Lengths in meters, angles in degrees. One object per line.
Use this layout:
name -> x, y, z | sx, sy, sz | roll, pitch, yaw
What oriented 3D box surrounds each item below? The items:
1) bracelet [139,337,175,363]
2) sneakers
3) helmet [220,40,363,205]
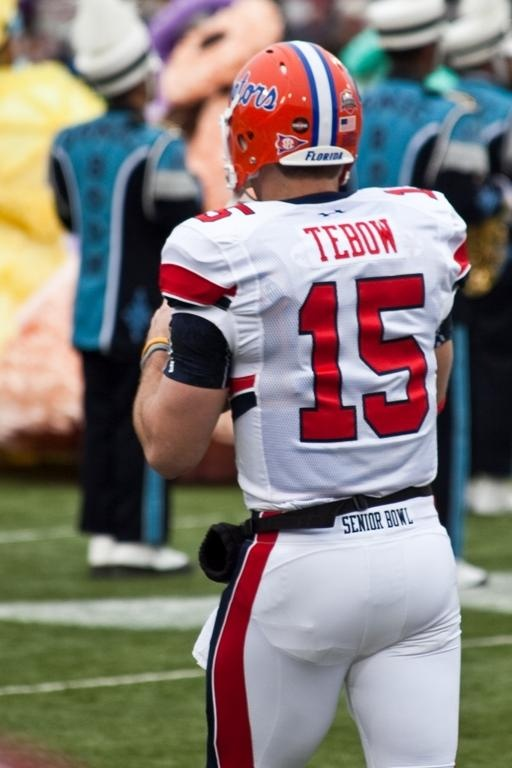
bracelet -> -0.150, -0.050, 1.489 | 0.042, 0.050, 0.020 | 3, 74, -23
sneakers -> -0.549, 0.759, 4.265 | 0.497, 0.168, 0.162 | 2, 5, -11
helmet -> 0.068, -0.446, 1.617 | 0.236, 0.234, 0.286 | -9, 18, -14
